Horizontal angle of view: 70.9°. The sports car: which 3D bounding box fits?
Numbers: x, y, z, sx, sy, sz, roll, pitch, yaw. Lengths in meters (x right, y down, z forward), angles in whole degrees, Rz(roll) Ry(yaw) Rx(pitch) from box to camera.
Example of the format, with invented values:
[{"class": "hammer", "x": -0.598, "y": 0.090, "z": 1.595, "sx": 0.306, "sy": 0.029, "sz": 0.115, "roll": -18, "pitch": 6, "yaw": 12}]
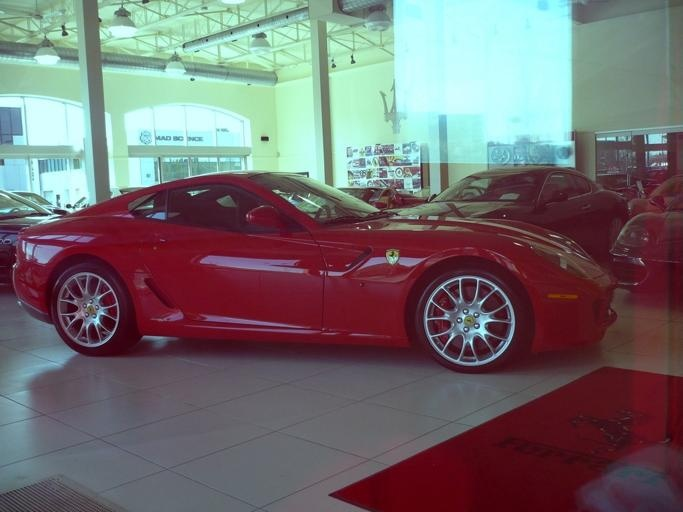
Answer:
[{"class": "sports car", "x": -0.470, "y": 0.032, "z": 4.159, "sx": 4.759, "sy": 0.995, "sz": 1.789, "roll": -1, "pitch": 3, "yaw": 12}]
